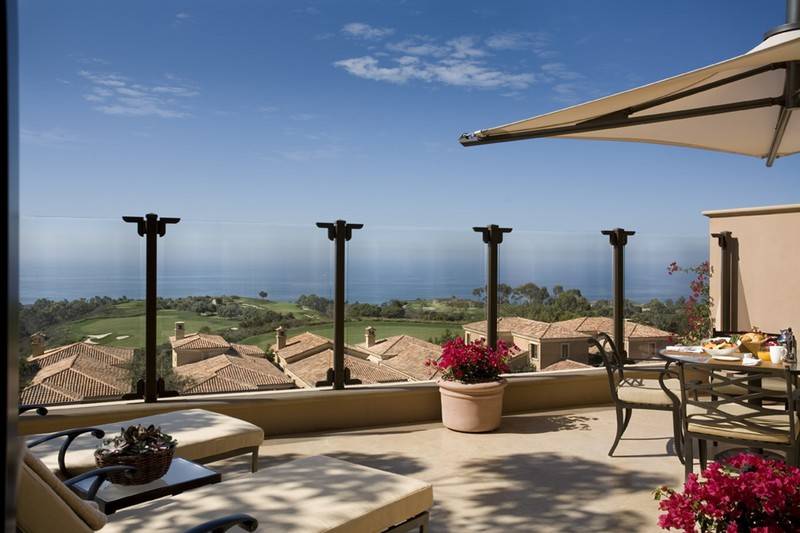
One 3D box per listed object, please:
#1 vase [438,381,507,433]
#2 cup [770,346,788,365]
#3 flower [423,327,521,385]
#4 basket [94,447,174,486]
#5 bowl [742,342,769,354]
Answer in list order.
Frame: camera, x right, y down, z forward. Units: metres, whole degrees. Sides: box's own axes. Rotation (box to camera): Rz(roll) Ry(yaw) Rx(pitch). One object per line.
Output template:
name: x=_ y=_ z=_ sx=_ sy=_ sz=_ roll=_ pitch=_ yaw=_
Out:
vase: x=0.800 y=1.558 z=6.485 sx=0.848 sy=0.503 sz=0.805 roll=4 pitch=-5 yaw=-32
cup: x=3.303 y=0.766 z=4.929 sx=0.172 sy=0.164 sz=0.116 roll=-1 pitch=-1 yaw=39
flower: x=0.973 y=1.057 z=6.566 sx=0.794 sy=0.387 sz=0.831 roll=-2 pitch=-2 yaw=-2
basket: x=-1.734 y=1.282 z=3.602 sx=0.395 sy=0.154 sz=0.385 roll=2 pitch=-8 yaw=-14
bowl: x=3.739 y=0.844 z=5.969 sx=0.270 sy=0.094 sz=0.258 roll=1 pitch=-8 yaw=0
